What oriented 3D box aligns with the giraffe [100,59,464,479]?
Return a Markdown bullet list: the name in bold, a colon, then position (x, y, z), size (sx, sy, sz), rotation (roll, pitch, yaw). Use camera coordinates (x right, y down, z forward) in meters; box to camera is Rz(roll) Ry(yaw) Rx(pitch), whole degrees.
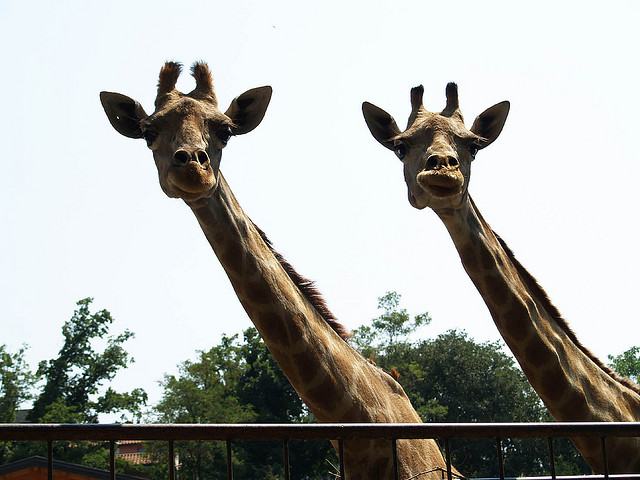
- **giraffe**: position (-0.922, 0.549, 15.581), size (1.885, 6.428, 5.348), rotation (-30, -41, 28)
